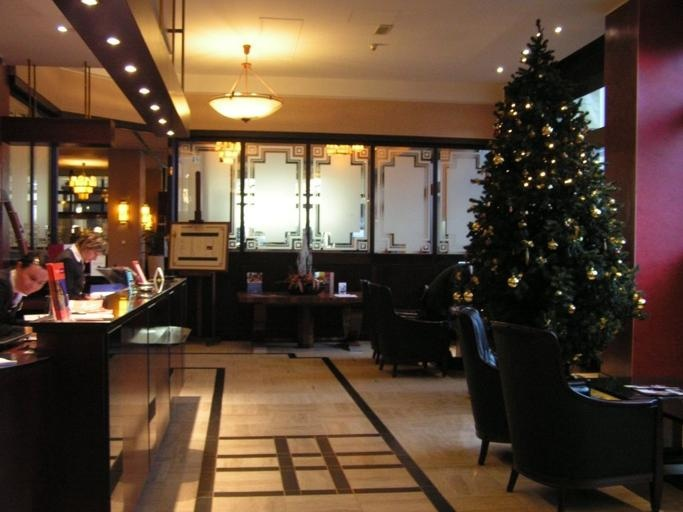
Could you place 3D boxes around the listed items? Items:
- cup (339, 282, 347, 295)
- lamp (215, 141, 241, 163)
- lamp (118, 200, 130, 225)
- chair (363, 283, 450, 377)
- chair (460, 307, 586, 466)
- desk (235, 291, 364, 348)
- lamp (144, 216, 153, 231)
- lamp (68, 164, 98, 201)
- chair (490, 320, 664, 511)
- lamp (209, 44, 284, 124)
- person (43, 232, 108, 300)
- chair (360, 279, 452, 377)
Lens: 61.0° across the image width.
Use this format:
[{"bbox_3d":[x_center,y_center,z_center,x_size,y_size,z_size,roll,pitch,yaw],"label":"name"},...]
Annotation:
[{"bbox_3d":[-0.002,0.486,8.683,0.140,0.195,0.138,0,3,0],"label":"cup"},{"bbox_3d":[-1.755,-1.595,9.002,0.334,0.324,0.336,1,5,8],"label":"lamp"},{"bbox_3d":[-4.490,-0.895,11.917,0.222,0.454,0.095,-1,5,-22],"label":"lamp"},{"bbox_3d":[0.775,0.882,7.280,1.146,1.353,0.957,0,-1,-10],"label":"chair"},{"bbox_3d":[1.159,0.950,4.987,1.217,1.327,0.941,1,-3,-9],"label":"chair"},{"bbox_3d":[-0.587,0.926,8.567,1.741,0.804,1.007,1,4,-1],"label":"desk"},{"bbox_3d":[-4.348,-0.733,13.038,0.163,0.321,0.642,0,5,-13],"label":"lamp"},{"bbox_3d":[-5.714,-1.667,12.787,0.608,0.782,0.620,2,2,35],"label":"lamp"},{"bbox_3d":[1.535,1.035,4.421,1.202,1.624,1.190,0,-3,-15],"label":"chair"},{"bbox_3d":[-1.241,-2.308,7.957,1.027,1.050,1.026,-3,-10,9],"label":"lamp"},{"bbox_3d":[-2.643,0.180,5.794,0.464,0.797,0.427,6,6,6],"label":"person"},{"bbox_3d":[0.677,0.875,7.264,1.161,1.363,0.964,-1,-1,-10],"label":"chair"}]
